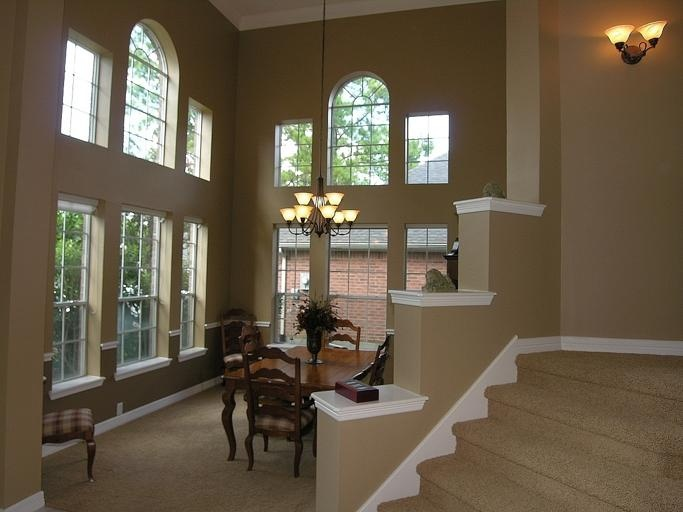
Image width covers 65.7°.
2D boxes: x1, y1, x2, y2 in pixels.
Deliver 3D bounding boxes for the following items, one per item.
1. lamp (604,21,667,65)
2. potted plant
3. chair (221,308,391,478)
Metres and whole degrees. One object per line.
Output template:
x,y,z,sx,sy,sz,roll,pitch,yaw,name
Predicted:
2.714,-1.973,4.856,0.361,0.222,0.208,-1,-12,-7,lamp
-0.319,0.879,6.281,0.643,0.988,0.653,3,-11,-10,potted plant
-0.351,1.440,5.538,0.851,0.979,1.451,-1,-2,16,chair
